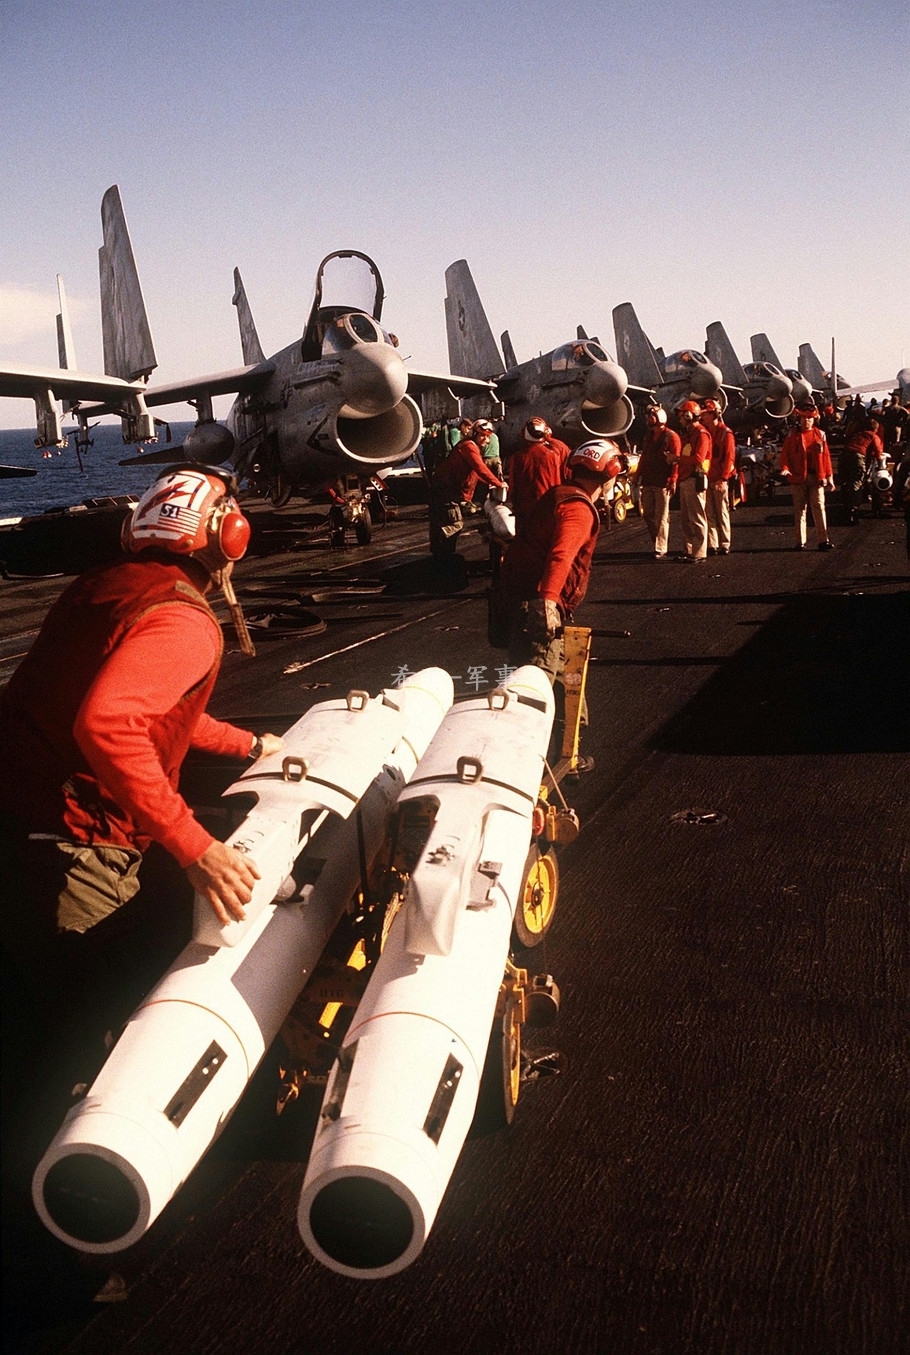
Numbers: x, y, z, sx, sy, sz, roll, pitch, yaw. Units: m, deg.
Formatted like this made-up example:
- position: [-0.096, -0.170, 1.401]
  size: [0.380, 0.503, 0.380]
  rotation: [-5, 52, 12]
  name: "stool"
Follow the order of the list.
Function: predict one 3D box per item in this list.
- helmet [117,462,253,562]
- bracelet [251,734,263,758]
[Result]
- position: [-0.752, -0.480, 2.511]
  size: [0.472, 0.316, 0.483]
  rotation: [-2, 17, -10]
  name: "helmet"
- position: [-0.662, 0.232, 2.884]
  size: [0.013, 0.057, 0.056]
  rotation: [7, -2, -22]
  name: "bracelet"
